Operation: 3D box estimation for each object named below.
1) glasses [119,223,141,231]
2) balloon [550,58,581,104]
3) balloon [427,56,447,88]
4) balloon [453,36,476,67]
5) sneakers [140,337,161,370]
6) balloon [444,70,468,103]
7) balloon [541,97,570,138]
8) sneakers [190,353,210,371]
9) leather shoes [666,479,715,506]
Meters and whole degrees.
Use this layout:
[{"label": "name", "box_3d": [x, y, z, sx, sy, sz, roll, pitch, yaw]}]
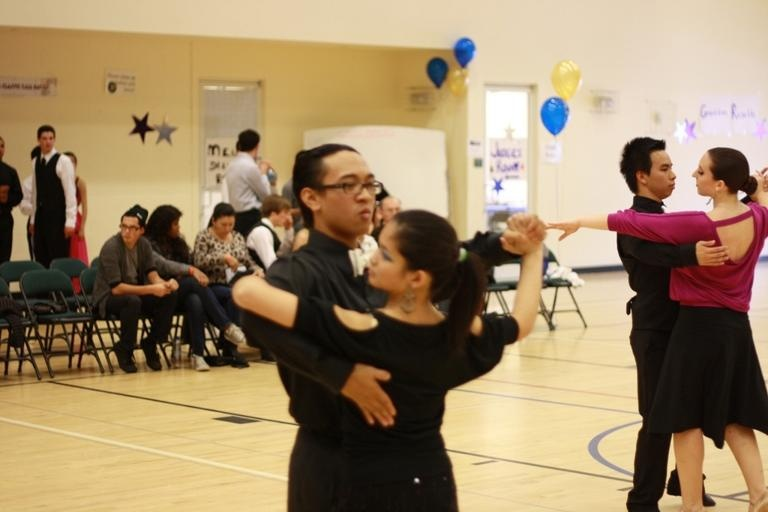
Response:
[{"label": "glasses", "box_3d": [-2.956, -0.343, 7.114, 0.199, 0.069, 0.135, -1, 3, -19]}, {"label": "balloon", "box_3d": [3.388, -3.313, 11.482, 0.475, 0.706, 0.374, 1, 3, 15]}, {"label": "balloon", "box_3d": [1.056, -3.696, 12.166, 0.422, 0.542, 0.141, 1, 17, 3]}, {"label": "balloon", "box_3d": [1.578, -3.986, 11.937, 0.569, 0.575, 0.355, -2, 4, -39]}, {"label": "sneakers", "box_3d": [-2.783, 1.137, 7.299, 0.221, 0.385, 0.298, -1, 3, -23]}, {"label": "balloon", "box_3d": [1.430, -3.419, 12.190, 0.364, 0.483, 0.302, -10, 11, -35]}, {"label": "balloon", "box_3d": [3.276, -2.615, 11.788, 0.560, 0.840, 0.537, 0, 3, -13]}, {"label": "sneakers", "box_3d": [-2.228, 1.262, 7.374, 0.117, 0.135, 0.343, -6, 1, -24]}, {"label": "leather shoes", "box_3d": [1.897, 1.413, 3.699, 0.299, 0.199, 0.104, 1, -2, -9]}]
